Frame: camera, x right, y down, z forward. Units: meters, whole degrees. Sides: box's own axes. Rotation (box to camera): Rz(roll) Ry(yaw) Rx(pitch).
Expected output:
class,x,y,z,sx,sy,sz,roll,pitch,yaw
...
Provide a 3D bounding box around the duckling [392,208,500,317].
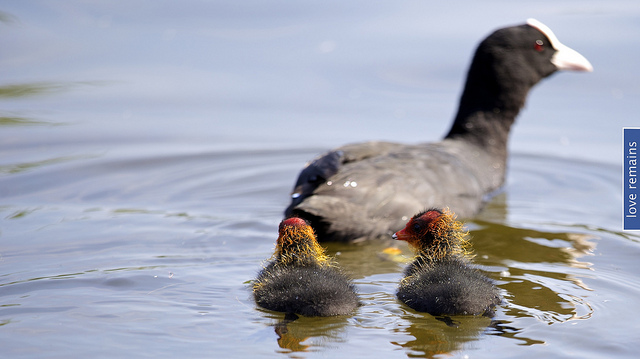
class,x,y,z,sx,sy,sz,roll,pitch,yaw
duckling,2.005,1.300,10.427,1.374,1.225,1.784,4,20,-12

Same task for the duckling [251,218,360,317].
class,x,y,z,sx,sy,sz,roll,pitch,yaw
duckling,-0.160,1.377,10.326,1.571,1.147,1.583,4,20,-12
